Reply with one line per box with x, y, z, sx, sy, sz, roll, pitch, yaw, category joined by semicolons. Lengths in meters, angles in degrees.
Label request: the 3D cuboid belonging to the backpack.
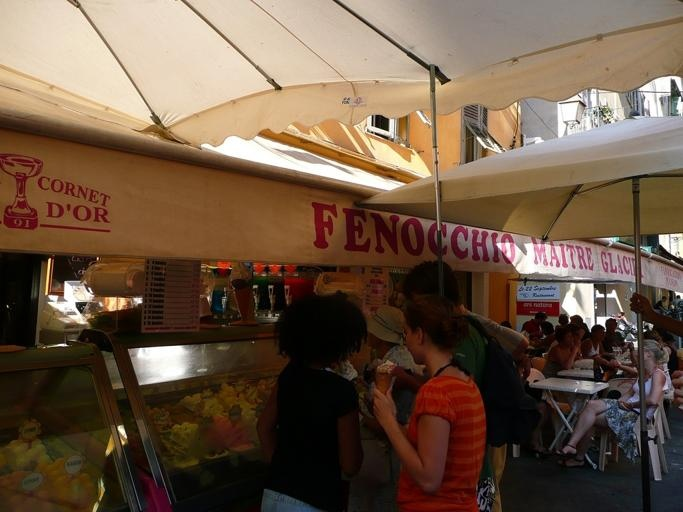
1.051;0.863;3.357;0.349;0.659;0.287;-2;-4;9;backpack

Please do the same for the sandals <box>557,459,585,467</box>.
3.208;2.892;7.394;0.265;0.075;0.135;4;-1;-4;sandals
